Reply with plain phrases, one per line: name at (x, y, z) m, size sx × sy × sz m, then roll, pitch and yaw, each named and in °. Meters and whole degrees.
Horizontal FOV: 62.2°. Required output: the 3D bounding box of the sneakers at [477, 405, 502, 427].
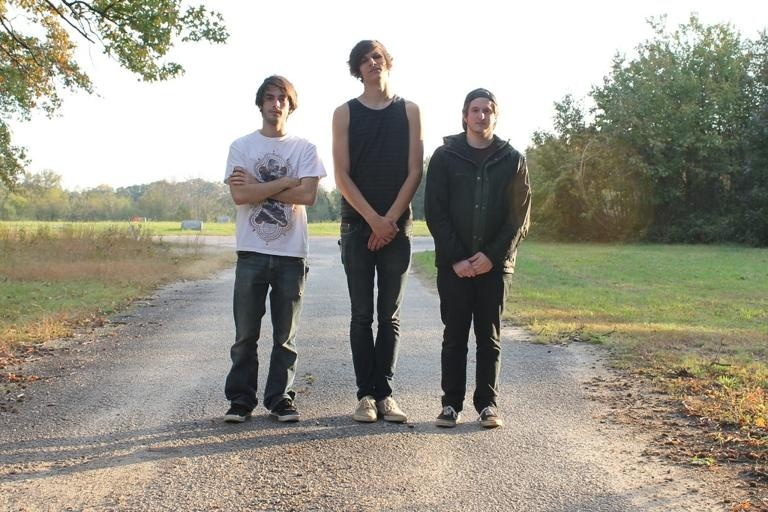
sneakers at (1.055, 1.597, 6.308) m, size 0.215 × 0.172 × 0.187 m, roll -1°, pitch 7°, yaw -3°

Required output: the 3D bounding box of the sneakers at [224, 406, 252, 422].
sneakers at (-1.430, 1.586, 6.360) m, size 0.117 × 0.120 × 0.307 m, roll 0°, pitch -16°, yaw 19°

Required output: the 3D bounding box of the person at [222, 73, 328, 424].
person at (-1.117, -0.102, 6.440) m, size 0.980 × 3.424 × 0.735 m, roll -1°, pitch 7°, yaw -6°

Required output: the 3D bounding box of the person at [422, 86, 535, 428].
person at (0.927, -0.002, 6.387) m, size 1.020 × 3.322 × 0.700 m, roll 0°, pitch 7°, yaw 3°

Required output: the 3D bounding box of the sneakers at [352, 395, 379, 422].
sneakers at (-0.176, 1.543, 6.408) m, size 0.256 × 0.219 × 0.214 m, roll -1°, pitch 7°, yaw -10°

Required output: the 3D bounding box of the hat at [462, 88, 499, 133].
hat at (0.906, -1.466, 6.310) m, size 0.328 × 0.396 × 0.441 m, roll 2°, pitch 7°, yaw 19°

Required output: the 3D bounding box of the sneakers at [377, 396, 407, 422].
sneakers at (0.080, 1.566, 6.449) m, size 0.141 × 0.139 × 0.368 m, roll 0°, pitch -5°, yaw -28°

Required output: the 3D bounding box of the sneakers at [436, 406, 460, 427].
sneakers at (0.674, 1.587, 6.341) m, size 0.326 × 0.179 × 0.166 m, roll -7°, pitch 9°, yaw -43°

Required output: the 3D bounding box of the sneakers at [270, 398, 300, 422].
sneakers at (-0.970, 1.550, 6.371) m, size 0.163 × 0.142 × 0.343 m, roll 3°, pitch -6°, yaw -32°
